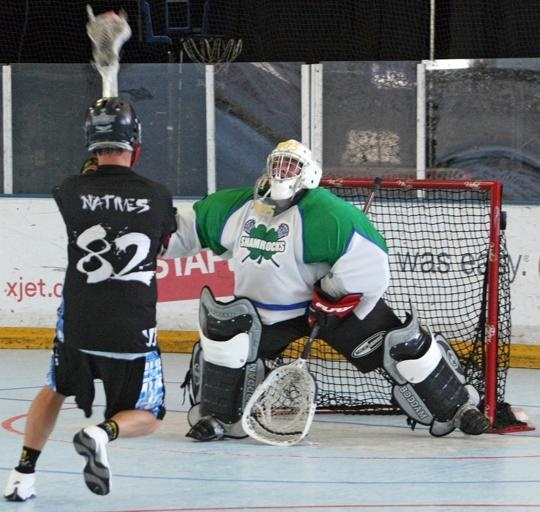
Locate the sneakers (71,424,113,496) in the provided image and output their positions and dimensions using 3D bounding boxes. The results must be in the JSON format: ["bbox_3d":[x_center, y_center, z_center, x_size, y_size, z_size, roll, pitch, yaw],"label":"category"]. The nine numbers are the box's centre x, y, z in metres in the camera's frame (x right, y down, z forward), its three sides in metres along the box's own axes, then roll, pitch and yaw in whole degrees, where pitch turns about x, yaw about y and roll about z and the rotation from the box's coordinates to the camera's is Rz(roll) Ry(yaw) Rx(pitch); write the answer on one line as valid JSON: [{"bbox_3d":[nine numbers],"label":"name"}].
[{"bbox_3d":[-0.684,0.796,4.189,0.136,0.279,0.219,-18,2,0],"label":"sneakers"}]

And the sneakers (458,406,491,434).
[{"bbox_3d":[1.001,0.845,5.337,0.135,0.121,0.152,3,-3,2],"label":"sneakers"}]

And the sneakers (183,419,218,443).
[{"bbox_3d":[-0.354,0.890,5.293,0.109,0.048,0.149,27,36,33],"label":"sneakers"}]

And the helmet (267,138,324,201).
[{"bbox_3d":[0.084,-0.433,5.390,0.339,0.260,0.338,3,-7,26],"label":"helmet"}]

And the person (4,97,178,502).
[{"bbox_3d":[-0.714,0.184,4.382,0.510,1.665,0.511,4,9,22],"label":"person"}]

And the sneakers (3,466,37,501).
[{"bbox_3d":[-1.032,0.956,4.343,0.089,0.066,0.187,5,-1,-7],"label":"sneakers"}]
